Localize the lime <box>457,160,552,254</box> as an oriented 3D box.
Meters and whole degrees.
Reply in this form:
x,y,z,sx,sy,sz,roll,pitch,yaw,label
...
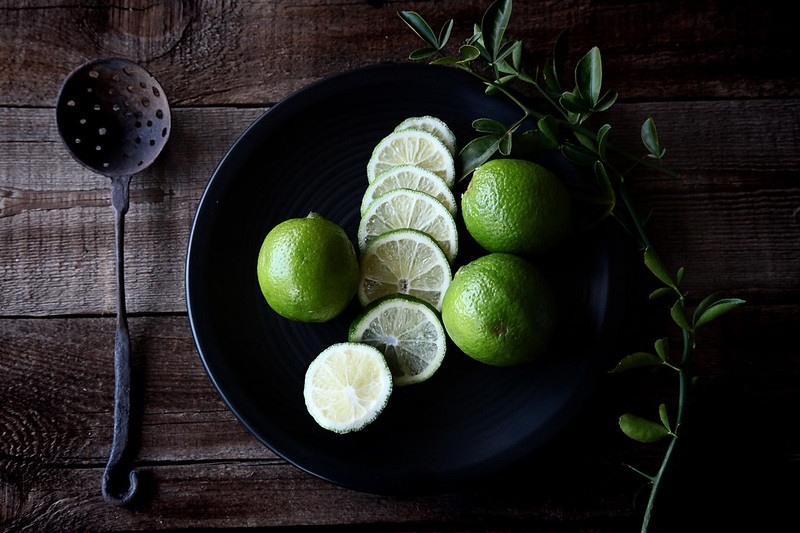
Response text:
x,y,z,sx,sy,sz,roll,pitch,yaw,label
0.229,-0.133,1.691,0.188,0.079,0.196,3,73,2,lime

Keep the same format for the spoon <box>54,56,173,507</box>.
x,y,z,sx,sy,sz,roll,pitch,yaw,label
-0.700,0.036,1.860,0.293,0.156,1.008,1,94,-11,spoon

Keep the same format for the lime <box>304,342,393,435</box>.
x,y,z,sx,sy,sz,roll,pitch,yaw,label
-0.116,0.268,1.719,0.182,0.094,0.200,44,79,13,lime
